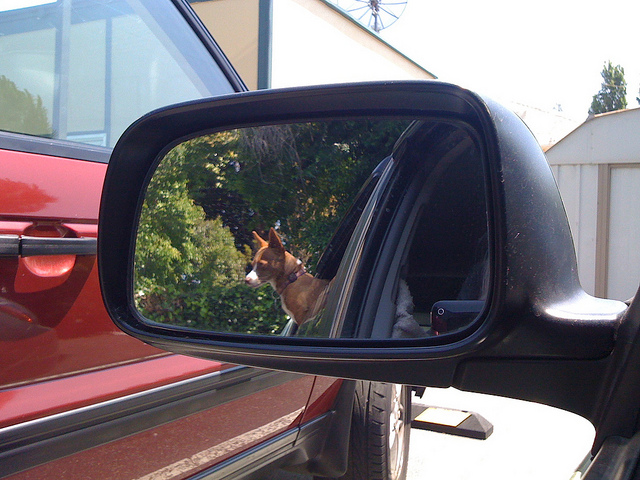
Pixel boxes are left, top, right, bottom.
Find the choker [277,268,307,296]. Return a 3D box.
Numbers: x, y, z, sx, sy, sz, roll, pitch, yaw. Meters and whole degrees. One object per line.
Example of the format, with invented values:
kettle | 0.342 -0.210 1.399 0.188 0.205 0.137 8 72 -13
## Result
choker | -0.067 0.094 1.282 0.057 0.015 0.053 -44 11 4
